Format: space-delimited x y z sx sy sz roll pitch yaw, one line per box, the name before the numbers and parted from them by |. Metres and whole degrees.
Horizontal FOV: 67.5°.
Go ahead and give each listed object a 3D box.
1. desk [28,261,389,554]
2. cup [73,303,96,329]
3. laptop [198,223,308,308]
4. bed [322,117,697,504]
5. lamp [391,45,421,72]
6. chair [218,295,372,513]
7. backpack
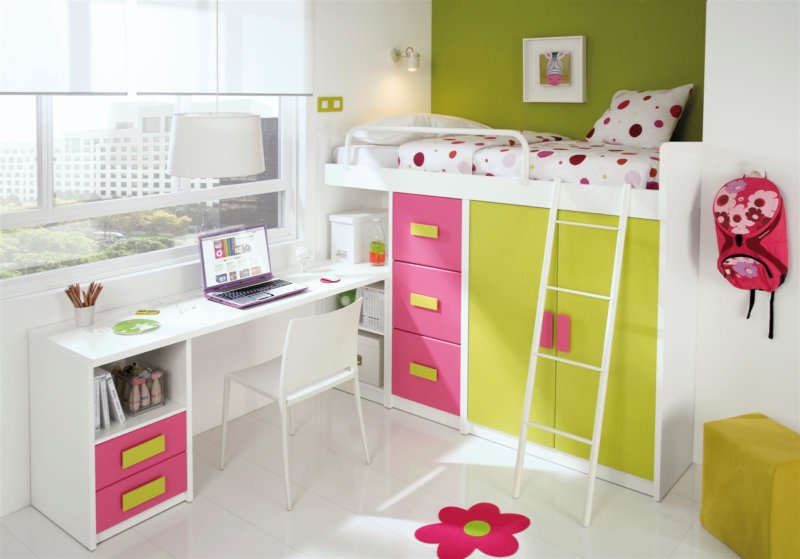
desk | -1.210 0.631 3.362 0.639 0.964 1.529 16 23 41
cup | -1.607 0.191 3.061 0.104 0.112 0.100 1 6 0
laptop | -0.876 -0.062 3.549 0.478 0.433 0.616 8 13 36
bed | 0.789 0.088 3.512 1.783 1.852 0.835 15 23 40
lamp | 0.049 -1.631 4.467 0.205 0.207 0.154 6 15 29
chair | -0.640 0.749 3.468 0.787 1.232 0.807 12 16 33
backpack | 1.759 -0.219 3.007 0.361 0.550 0.143 9 19 25
